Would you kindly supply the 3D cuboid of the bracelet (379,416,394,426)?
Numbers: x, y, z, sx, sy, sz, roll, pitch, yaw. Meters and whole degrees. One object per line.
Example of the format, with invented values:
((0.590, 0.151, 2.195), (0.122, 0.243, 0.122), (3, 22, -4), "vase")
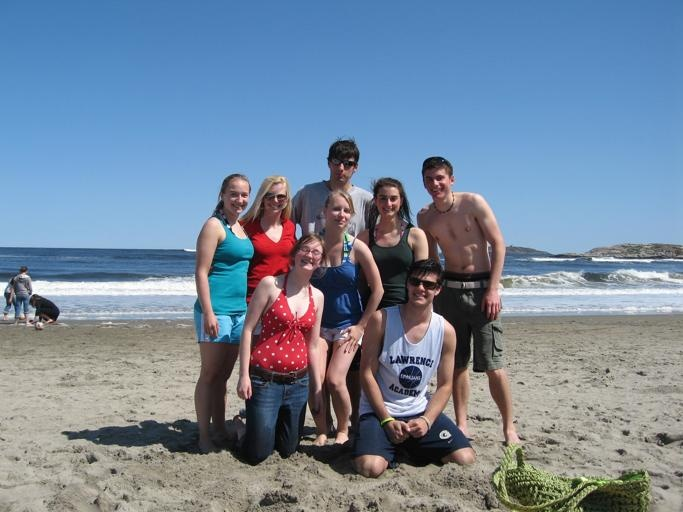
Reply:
((0.424, 1.588, 5.737), (0.086, 0.036, 0.099), (-22, -23, 39), "bracelet")

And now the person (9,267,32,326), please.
((-8.890, 1.061, 16.638), (0.527, 1.473, 2.283), (-1, 2, -28), "person")

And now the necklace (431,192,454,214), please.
((1.148, -0.556, 6.516), (0.181, 0.220, 0.059), (-2, 44, 4), "necklace")

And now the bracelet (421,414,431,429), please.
((0.814, 1.590, 5.731), (0.116, 0.048, 0.103), (52, 4, 37), "bracelet")

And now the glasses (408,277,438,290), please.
((0.791, 0.263, 5.786), (0.302, 0.133, 0.133), (1, 2, 7), "glasses")

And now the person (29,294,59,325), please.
((-7.759, 1.407, 15.748), (0.881, 0.851, 0.633), (3, 3, 23), "person")

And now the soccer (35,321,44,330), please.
((-7.497, 1.735, 14.898), (0.130, 0.125, 0.126), (6, -5, 34), "soccer")

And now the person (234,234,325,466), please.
((-0.589, 0.911, 5.845), (0.822, 2.212, 0.375), (0, 2, -9), "person")

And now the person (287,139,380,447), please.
((-0.158, 0.516, 6.204), (1.263, 3.060, 1.188), (3, 4, 11), "person")
